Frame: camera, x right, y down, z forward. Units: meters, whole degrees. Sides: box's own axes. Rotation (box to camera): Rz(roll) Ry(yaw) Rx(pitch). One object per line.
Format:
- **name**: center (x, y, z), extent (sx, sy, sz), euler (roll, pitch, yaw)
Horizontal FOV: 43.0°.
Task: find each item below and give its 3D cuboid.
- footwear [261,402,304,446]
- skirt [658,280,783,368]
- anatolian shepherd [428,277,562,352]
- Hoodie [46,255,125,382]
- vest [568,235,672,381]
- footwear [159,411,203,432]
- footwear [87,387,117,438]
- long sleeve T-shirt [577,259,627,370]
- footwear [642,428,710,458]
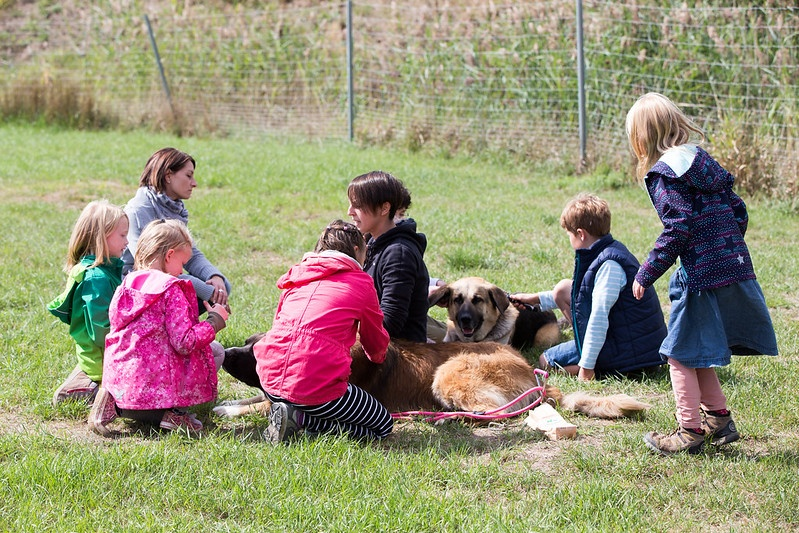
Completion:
- **footwear**: center (-1.102, 1.488, 9.776), extent (0.257, 0.617, 0.194), euler (0, 28, -24)
- **skirt**: center (3.105, 0.588, 9.969), extent (1.013, 1.191, 0.827), euler (-4, -2, 11)
- **anatolian shepherd**: center (1.210, 0.653, 12.070), extent (1.069, 0.965, 1.990), euler (8, 7, 40)
- **Hoodie**: center (-3.202, 0.466, 10.356), extent (0.627, 1.391, 0.373), euler (-1, 1, -35)
- **vest**: center (2.371, 0.374, 11.249), extent (0.961, 1.449, 1.016), euler (-11, 17, -16)
- **footwear**: center (-2.155, 1.552, 9.982), extent (0.458, 0.232, 0.173), euler (10, 1, -23)
- **footwear**: center (-2.930, 1.570, 10.154), extent (0.286, 0.258, 0.716), euler (5, 4, -17)
- **long sleeve T-shirt**: center (2.091, 0.556, 10.941), extent (0.458, 1.116, 0.599), euler (-2, -1, -7)
- **footwear**: center (2.642, 1.683, 9.683), extent (0.527, 0.291, 0.249), euler (6, -6, 4)
